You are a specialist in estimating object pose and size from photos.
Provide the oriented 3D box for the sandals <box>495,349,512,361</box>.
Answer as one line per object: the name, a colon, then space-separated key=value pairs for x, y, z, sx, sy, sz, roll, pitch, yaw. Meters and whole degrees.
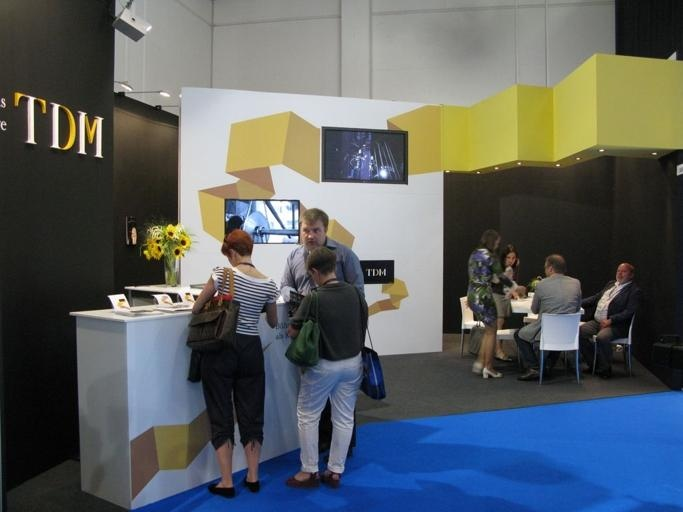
sandals: x=2.353 y=1.440 z=8.556 sx=0.106 sy=0.127 sz=0.294 roll=0 pitch=-5 yaw=42

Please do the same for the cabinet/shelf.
cabinet/shelf: x=-1.258 y=1.194 z=4.834 sx=0.542 sy=1.315 sz=1.570 roll=-2 pitch=-1 yaw=44

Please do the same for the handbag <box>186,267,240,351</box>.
handbag: x=-1.040 y=0.404 z=4.810 sx=0.436 sy=0.716 sz=0.187 roll=-14 pitch=-28 yaw=33

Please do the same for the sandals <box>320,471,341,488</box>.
sandals: x=-0.087 y=1.885 z=5.031 sx=0.087 sy=0.127 sz=0.167 roll=4 pitch=1 yaw=-38

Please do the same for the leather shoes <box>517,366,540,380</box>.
leather shoes: x=2.408 y=1.511 z=7.587 sx=0.339 sy=0.168 sz=0.121 roll=-4 pitch=-8 yaw=27

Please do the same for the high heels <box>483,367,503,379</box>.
high heels: x=1.984 y=1.515 z=7.694 sx=0.306 sy=0.165 sz=0.110 roll=-1 pitch=-1 yaw=-21

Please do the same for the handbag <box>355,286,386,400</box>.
handbag: x=0.236 y=0.793 z=5.159 sx=0.150 sy=0.807 sz=0.586 roll=-11 pitch=5 yaw=-1

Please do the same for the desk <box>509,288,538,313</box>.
desk: x=2.497 y=0.632 z=8.114 sx=0.320 sy=0.242 sz=0.359 roll=-1 pitch=-2 yaw=-1

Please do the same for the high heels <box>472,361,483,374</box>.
high heels: x=1.770 y=1.452 z=7.765 sx=0.124 sy=0.155 sz=0.129 roll=-1 pitch=4 yaw=-28

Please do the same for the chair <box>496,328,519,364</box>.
chair: x=2.373 y=1.285 z=8.459 sx=0.493 sy=0.381 sz=0.375 roll=0 pitch=3 yaw=-10

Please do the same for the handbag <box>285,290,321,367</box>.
handbag: x=-0.301 y=0.573 z=4.669 sx=0.261 sy=0.560 sz=0.153 roll=-1 pitch=7 yaw=-7

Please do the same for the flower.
flower: x=-1.955 y=-0.007 z=6.685 sx=0.474 sy=0.715 sz=0.375 roll=-2 pitch=8 yaw=-17

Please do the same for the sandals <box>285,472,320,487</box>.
sandals: x=-0.324 y=1.855 z=4.966 sx=0.236 sy=0.111 sz=0.131 roll=2 pitch=-5 yaw=18

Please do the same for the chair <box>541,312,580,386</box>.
chair: x=2.724 y=1.118 z=7.352 sx=0.534 sy=0.932 sz=0.456 roll=2 pitch=8 yaw=12

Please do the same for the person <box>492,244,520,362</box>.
person: x=2.387 y=0.690 z=8.603 sx=0.490 sy=1.635 sz=0.379 roll=10 pitch=-15 yaw=-34

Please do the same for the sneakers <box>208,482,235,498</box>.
sneakers: x=-0.973 y=1.920 z=4.828 sx=0.221 sy=0.086 sz=0.092 roll=7 pitch=-5 yaw=22
